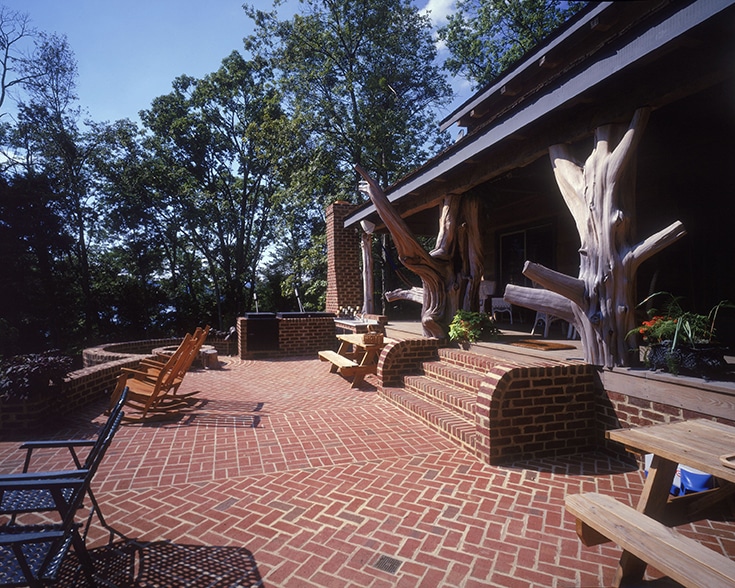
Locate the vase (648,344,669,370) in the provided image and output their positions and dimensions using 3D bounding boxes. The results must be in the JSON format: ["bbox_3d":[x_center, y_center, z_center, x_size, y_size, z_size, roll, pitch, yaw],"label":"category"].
[{"bbox_3d":[2.866,0.631,5.134,0.123,0.253,0.231,5,-6,-37],"label":"vase"}]

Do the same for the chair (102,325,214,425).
[{"bbox_3d":[-3.053,1.158,7.747,1.075,1.199,1.975,3,-6,-17],"label":"chair"}]

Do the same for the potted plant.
[{"bbox_3d":[3.268,0.477,5.466,1.099,0.887,1.112,-1,1,42],"label":"potted plant"}]

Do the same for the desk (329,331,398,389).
[{"bbox_3d":[-0.298,1.221,10.054,1.032,0.980,2.842,2,-6,-4],"label":"desk"}]

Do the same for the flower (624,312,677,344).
[{"bbox_3d":[2.965,0.397,5.389,0.362,0.237,0.369,-5,0,36],"label":"flower"}]

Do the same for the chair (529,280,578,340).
[{"bbox_3d":[3.234,0.276,9.305,0.921,1.283,0.941,-1,4,-9],"label":"chair"}]
